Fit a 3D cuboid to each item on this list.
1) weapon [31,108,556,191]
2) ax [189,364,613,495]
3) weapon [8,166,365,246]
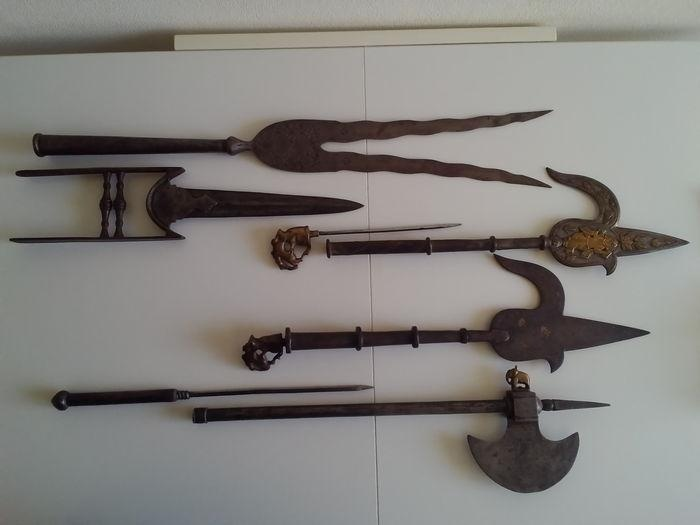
[{"bbox_3d":[-0.319,-0.553,4.223,2.444,0.149,0.448,0,-43,3],"label":"weapon"},{"bbox_3d":[0.420,0.797,4.122,1.640,0.536,0.202,0,-24,4],"label":"ax"},{"bbox_3d":[-0.470,-0.293,4.043,2.242,0.547,0.153,1,1,1],"label":"weapon"}]
